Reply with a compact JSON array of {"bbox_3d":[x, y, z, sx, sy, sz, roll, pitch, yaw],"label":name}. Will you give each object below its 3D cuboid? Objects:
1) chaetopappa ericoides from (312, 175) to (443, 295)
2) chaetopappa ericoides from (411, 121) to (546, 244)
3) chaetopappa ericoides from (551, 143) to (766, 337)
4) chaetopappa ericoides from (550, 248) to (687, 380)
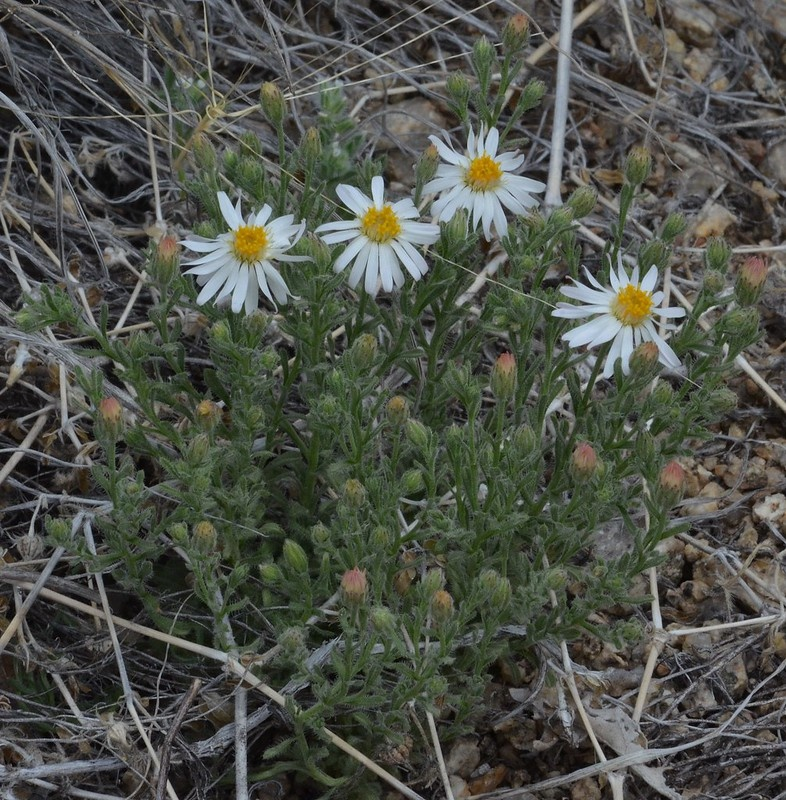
[{"bbox_3d":[-0.036,-0.446,2.399,0.282,0.276,0.129,-1,74,22],"label":"chaetopappa ericoides"},{"bbox_3d":[0.266,-0.645,2.616,0.275,0.114,0.323,13,73,-16],"label":"chaetopappa ericoides"},{"bbox_3d":[0.900,-0.535,3.067,0.097,0.138,0.980,-32,84,-30],"label":"chaetopappa ericoides"},{"bbox_3d":[0.620,-0.240,2.394,0.342,0.329,0.118,8,69,39],"label":"chaetopappa ericoides"}]
